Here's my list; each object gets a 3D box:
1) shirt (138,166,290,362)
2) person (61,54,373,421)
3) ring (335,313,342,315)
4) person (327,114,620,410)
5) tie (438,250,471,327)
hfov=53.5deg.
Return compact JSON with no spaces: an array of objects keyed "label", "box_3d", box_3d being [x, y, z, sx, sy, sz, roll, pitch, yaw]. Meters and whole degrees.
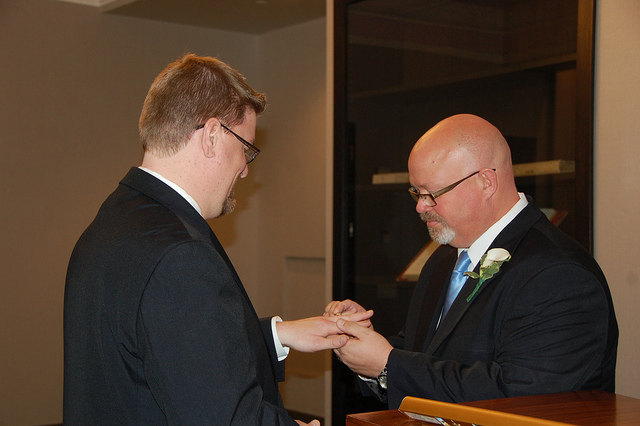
[{"label":"shirt","box_3d":[-0.261,0.183,2.525,0.763,0.735,0.191,13,30,39]},{"label":"person","box_3d":[-0.609,0.037,2.872,1.176,2.012,1.075,-5,8,-32]},{"label":"ring","box_3d":[0.083,0.469,2.945,0.030,0.007,0.041,-5,-7,5]},{"label":"person","box_3d":[0.732,0.274,3.405,1.193,2.045,1.464,0,-5,-7]},{"label":"tie","box_3d":[0.585,0.311,2.748,0.062,0.054,0.441,14,40,18]}]
